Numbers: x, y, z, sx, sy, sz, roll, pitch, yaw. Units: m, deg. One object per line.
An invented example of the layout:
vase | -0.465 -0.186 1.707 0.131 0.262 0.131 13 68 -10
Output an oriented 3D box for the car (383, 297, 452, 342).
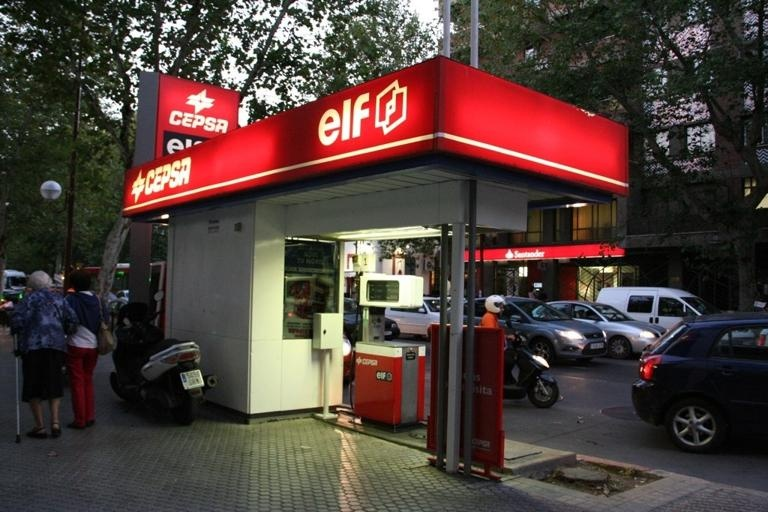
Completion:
car | 1.218 2.477 23.006 2.579 1.286 1.515 -9 -11 36

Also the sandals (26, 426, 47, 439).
sandals | -5.355 2.697 9.250 0.376 0.170 0.175 2 1 12

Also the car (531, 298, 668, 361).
car | 7.151 2.362 19.712 3.850 1.324 1.837 -3 -4 31

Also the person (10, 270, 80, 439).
person | -5.300 1.524 9.322 0.886 2.523 0.532 1 2 -28

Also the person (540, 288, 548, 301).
person | 8.866 2.123 33.119 0.555 0.659 0.960 2 -3 23

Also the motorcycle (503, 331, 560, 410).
motorcycle | 3.032 2.358 12.303 1.062 1.071 0.788 2 1 20

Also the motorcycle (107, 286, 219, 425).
motorcycle | -4.020 1.895 10.714 0.718 1.887 2.581 1 2 -45

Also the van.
van | 9.077 1.688 20.928 3.929 1.869 2.214 -6 -8 43

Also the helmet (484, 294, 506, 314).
helmet | 2.280 0.979 12.212 0.446 0.390 0.344 0 0 -6

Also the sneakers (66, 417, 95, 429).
sneakers | -4.954 2.744 9.804 0.409 0.173 0.141 4 0 0
